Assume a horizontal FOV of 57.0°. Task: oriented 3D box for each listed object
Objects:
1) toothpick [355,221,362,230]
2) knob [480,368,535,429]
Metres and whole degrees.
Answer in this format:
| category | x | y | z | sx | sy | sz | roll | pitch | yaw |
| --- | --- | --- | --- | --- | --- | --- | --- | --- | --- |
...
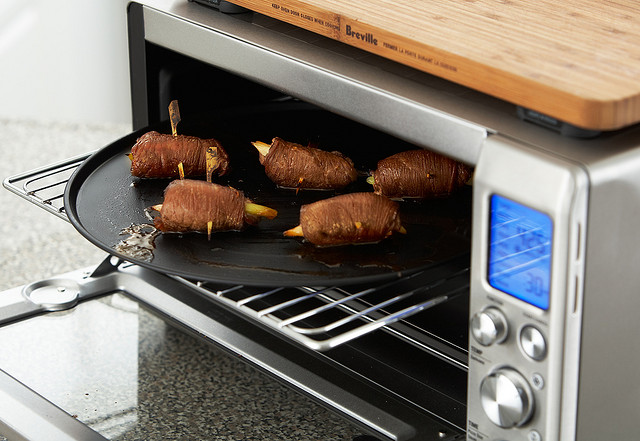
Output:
| category | x | y | z | sx | sy | sz | roll | pitch | yaw |
| --- | --- | --- | --- | --- | --- | --- | --- | --- | --- |
| toothpick | 0.048 | 0.005 | 0.726 | 0.010 | 0.009 | 0.003 | 5 | 0 | -3 |
| knob | 0.174 | 0.169 | 0.555 | 0.022 | 0.057 | 0.048 | 7 | 73 | -26 |
